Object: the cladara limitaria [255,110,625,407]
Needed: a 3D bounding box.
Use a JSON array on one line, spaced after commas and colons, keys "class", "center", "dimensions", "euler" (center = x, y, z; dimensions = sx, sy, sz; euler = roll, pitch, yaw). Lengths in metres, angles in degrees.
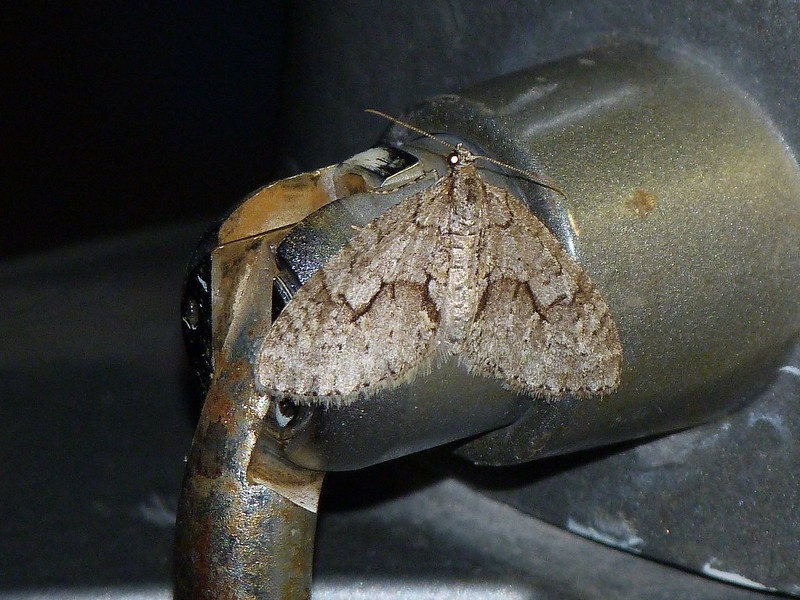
[{"class": "cladara limitaria", "center": [0.053, 0.013, 1.866], "dimensions": [0.485, 0.434, 0.197], "euler": [4, -6, 0]}]
